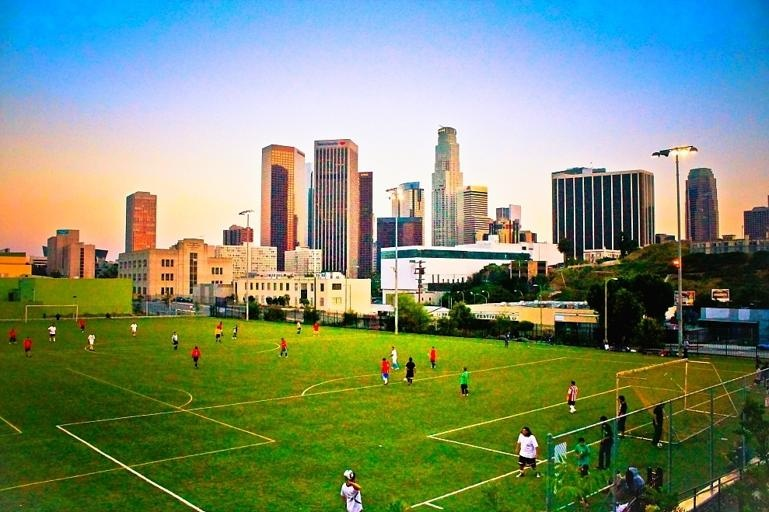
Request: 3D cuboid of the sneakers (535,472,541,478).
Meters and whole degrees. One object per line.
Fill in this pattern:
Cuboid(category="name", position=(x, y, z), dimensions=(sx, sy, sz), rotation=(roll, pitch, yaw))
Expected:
Cuboid(category="sneakers", position=(9.475, 13.484, 52.371), dimensions=(0.268, 0.116, 0.355), rotation=(-1, 0, -3))
